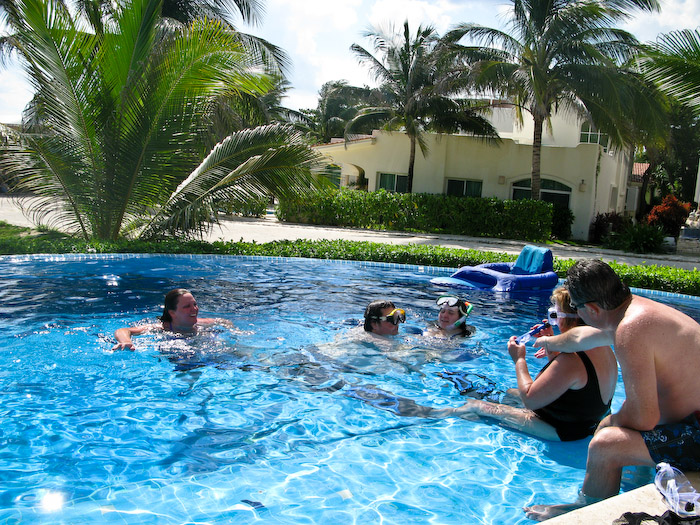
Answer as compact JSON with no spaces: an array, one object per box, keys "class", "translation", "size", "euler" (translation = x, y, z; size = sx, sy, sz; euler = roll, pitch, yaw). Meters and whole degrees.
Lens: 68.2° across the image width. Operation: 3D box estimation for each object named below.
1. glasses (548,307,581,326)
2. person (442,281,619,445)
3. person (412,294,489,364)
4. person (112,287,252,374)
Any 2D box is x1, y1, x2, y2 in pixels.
[{"class":"glasses","translation":[1.674,0.419,4.066],"size":[0.180,0.065,0.131],"euler":[10,-1,27]},{"class":"person","translation":[1.452,0.916,4.575],"size":[1.655,1.219,0.820],"euler":[1,1,31]},{"class":"person","translation":[1.349,0.847,7.091],"size":[0.892,0.552,1.308],"euler":[15,18,31]},{"class":"person","translation":[-2.154,0.684,6.605],"size":[0.650,0.666,1.802],"euler":[5,8,40]}]
